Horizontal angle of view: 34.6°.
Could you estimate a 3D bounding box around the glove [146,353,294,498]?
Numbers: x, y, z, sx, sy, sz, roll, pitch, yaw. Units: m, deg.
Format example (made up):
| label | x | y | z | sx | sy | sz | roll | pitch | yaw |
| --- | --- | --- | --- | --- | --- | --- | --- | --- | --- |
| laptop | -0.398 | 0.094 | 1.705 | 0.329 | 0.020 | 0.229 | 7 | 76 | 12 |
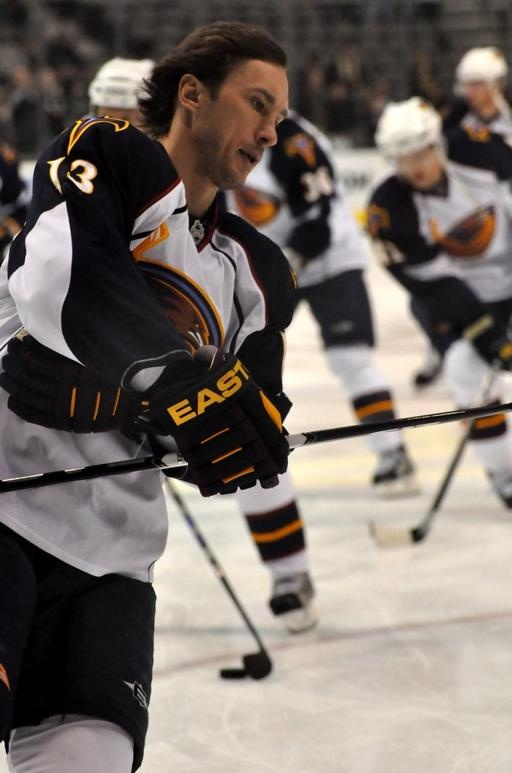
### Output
| label | x | y | z | sx | sy | sz | roll | pitch | yaw |
| --- | --- | --- | --- | --- | --- | --- | --- | --- | --- |
| glove | -0.046 | 0.040 | 0.909 | 0.085 | 0.130 | 0.190 | -33 | 11 | -6 |
